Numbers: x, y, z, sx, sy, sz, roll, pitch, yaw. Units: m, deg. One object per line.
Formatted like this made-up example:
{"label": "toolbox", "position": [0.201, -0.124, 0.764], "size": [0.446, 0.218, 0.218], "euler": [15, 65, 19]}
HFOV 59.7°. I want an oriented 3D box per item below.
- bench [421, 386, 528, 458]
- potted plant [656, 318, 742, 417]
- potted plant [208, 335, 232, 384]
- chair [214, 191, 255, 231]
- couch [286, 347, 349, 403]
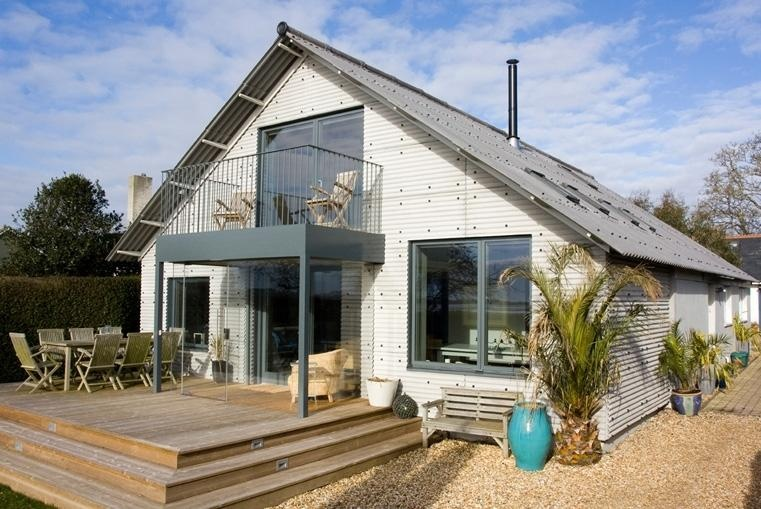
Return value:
{"label": "bench", "position": [2.295, 3.924, 16.669], "size": [2.917, 1.808, 1.371], "euler": [-4, -9, 33]}
{"label": "potted plant", "position": [8.765, 3.355, 19.430], "size": [2.265, 2.573, 2.016], "euler": [5, -3, -15]}
{"label": "potted plant", "position": [-4.503, 2.922, 18.617], "size": [0.644, 1.334, 0.563], "euler": [2, -13, -11]}
{"label": "chair", "position": [-4.333, -1.254, 19.327], "size": [0.993, 1.063, 1.115], "euler": [-2, 9, -15]}
{"label": "couch", "position": [-1.785, 3.157, 18.178], "size": [1.744, 1.645, 1.496], "euler": [-1, 9, -28]}
